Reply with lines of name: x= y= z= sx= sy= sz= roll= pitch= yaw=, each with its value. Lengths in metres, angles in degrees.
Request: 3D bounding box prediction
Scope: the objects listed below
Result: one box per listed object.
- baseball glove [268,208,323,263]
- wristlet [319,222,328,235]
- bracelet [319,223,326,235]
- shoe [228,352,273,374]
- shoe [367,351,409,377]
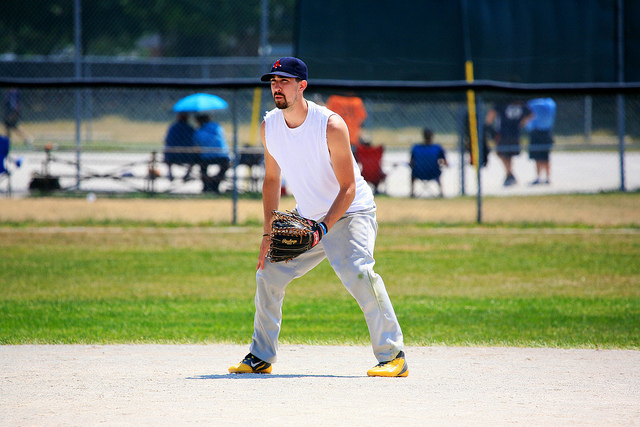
baseball glove: x=-0.288 y=0.283 z=17.370 sx=0.642 sy=0.606 sz=0.265 roll=1 pitch=15 yaw=3
wristlet: x=0.055 y=0.165 z=17.277 sx=0.095 sy=0.106 sz=0.104 roll=-29 pitch=-36 yaw=14
bracelet: x=0.044 y=0.171 z=17.269 sx=0.029 sy=0.098 sz=0.097 roll=-24 pitch=25 yaw=-7
shoe: x=-0.814 y=1.798 z=17.534 sx=0.530 sy=0.234 sz=0.216 roll=5 pitch=-7 yaw=-5
shoe: x=0.827 y=1.796 z=17.453 sx=0.558 sy=0.380 sz=0.200 roll=1 pitch=-10 yaw=-28
